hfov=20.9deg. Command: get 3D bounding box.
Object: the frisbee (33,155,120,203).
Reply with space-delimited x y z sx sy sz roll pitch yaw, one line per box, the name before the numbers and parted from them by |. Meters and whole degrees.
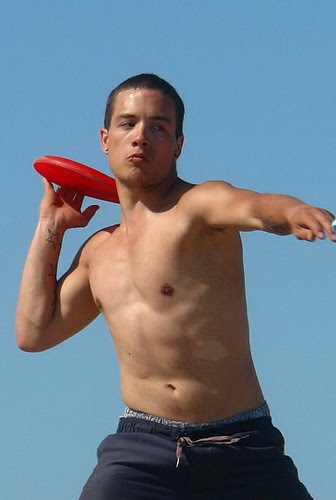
frisbee | -0.430 -0.317 4.286 0.372 0.206 0.281 -5 -19 -4
